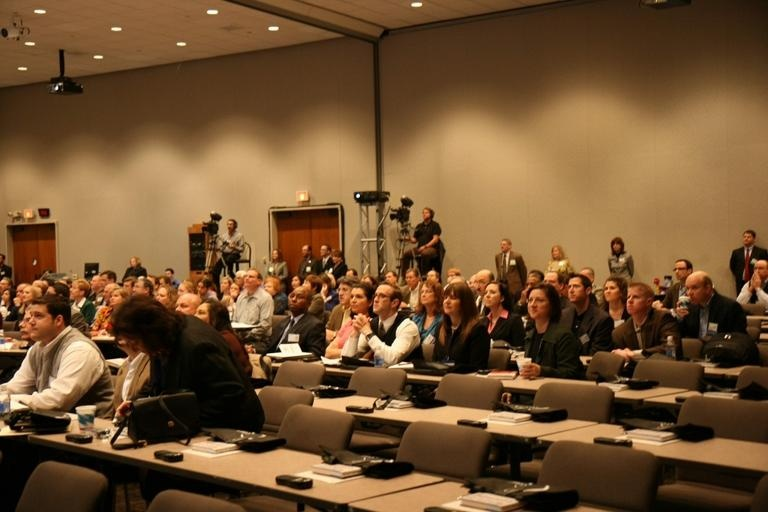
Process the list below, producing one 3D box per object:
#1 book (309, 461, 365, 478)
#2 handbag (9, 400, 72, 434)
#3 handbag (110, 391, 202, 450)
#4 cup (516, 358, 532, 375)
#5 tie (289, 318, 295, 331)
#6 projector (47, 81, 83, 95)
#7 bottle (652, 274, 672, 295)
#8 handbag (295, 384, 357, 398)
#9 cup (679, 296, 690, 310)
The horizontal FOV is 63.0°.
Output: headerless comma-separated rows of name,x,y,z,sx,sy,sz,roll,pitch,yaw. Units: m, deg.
book,-0.256,1.132,3.314,0.262,0.041,0.117,1,-1,22
handbag,-2.242,1.045,4.078,0.267,0.104,0.197,-1,4,-10
handbag,-1.367,0.985,3.839,0.435,0.270,0.285,3,-12,-37
cup,1.225,0.962,5.477,0.112,0.127,0.118,0,-7,0
tie,-1.092,0.805,7.464,0.028,0.095,0.088,18,52,39
projector,-7.446,-4.021,14.708,0.602,0.402,0.435,2,-1,-20
bottle,5.530,0.577,12.461,0.377,0.404,0.288,9,-11,-40
handbag,-0.486,1.116,5.160,0.419,0.122,0.128,8,-12,-13
cup,3.437,0.549,7.184,0.131,0.161,0.137,1,-9,0
